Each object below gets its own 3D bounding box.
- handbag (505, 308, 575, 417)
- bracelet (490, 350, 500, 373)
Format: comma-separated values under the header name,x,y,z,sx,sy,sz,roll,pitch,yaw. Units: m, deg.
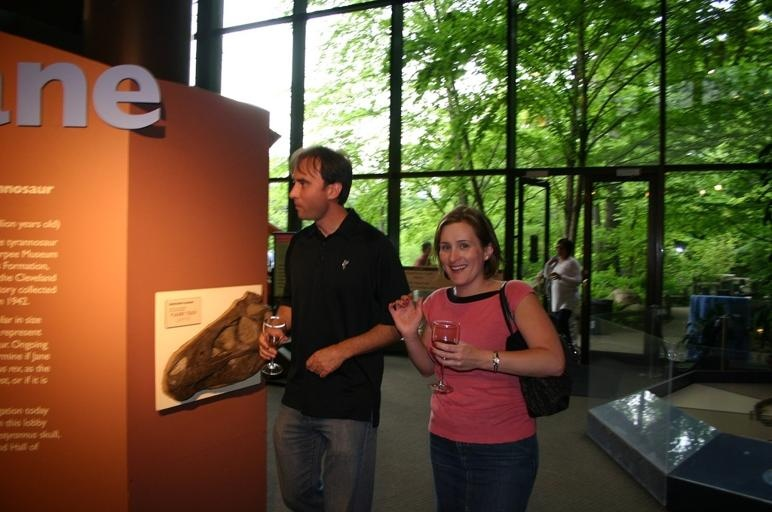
name,x,y,z,sx,sy,sz,roll,pitch,yaw
handbag,0.678,0.478,2.448,0.305,0.455,0.177,-1,4,-4
bracelet,0.458,0.443,2.361,0.052,0.067,0.076,13,-20,3
